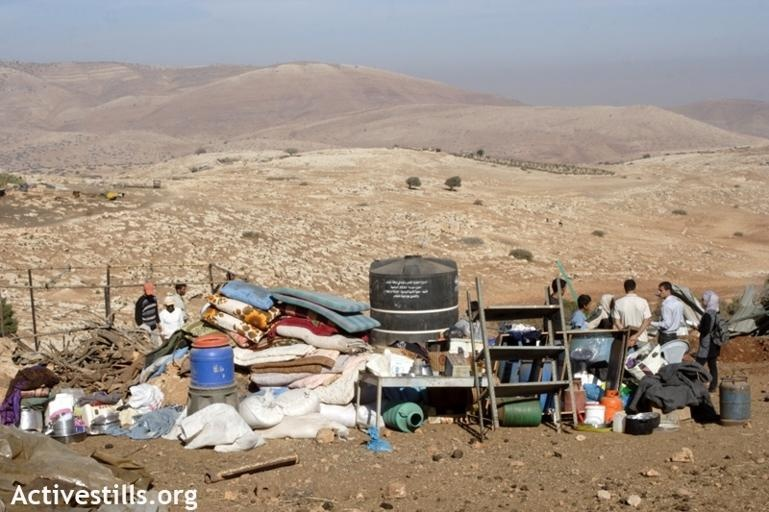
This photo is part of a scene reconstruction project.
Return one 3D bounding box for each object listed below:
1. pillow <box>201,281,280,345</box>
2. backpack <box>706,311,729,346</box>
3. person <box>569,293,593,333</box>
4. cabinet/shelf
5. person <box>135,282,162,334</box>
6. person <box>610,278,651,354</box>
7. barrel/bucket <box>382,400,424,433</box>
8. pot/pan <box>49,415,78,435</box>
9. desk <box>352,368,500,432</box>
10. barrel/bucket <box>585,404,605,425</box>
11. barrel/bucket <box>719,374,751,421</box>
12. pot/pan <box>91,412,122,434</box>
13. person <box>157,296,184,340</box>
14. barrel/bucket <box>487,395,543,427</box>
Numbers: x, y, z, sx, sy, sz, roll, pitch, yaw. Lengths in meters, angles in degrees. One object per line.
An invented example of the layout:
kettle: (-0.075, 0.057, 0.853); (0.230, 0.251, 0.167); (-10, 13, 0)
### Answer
pillow: (-2.629, 1.008, 13.224); (1.391, 1.126, 0.407); (29, -33, 11)
backpack: (5.871, 1.297, 13.007); (0.571, 0.730, 0.636); (1, -2, 22)
person: (3.502, 0.992, 12.946); (0.392, 0.544, 0.744); (4, 10, 3)
cabinet/shelf: (2.141, 1.603, 11.990); (1.661, 1.985, 1.347); (-1, -7, -9)
person: (-5.018, 1.080, 15.289); (0.420, 1.132, 1.727); (0, 10, -16)
person: (4.286, 1.010, 12.592); (0.675, 1.164, 1.393); (7, 11, 18)
barrel/bucket: (0.276, 2.565, 11.536); (0.524, 0.284, 0.339); (2, 31, 48)
pot/pan: (-4.830, 2.532, 10.909); (0.375, 0.267, 0.265); (-6, 13, -40)
desk: (0.582, 2.051, 11.190); (2.048, 0.575, 1.105); (0, -21, 3)
barrel/bucket: (3.337, 2.542, 11.669); (0.380, 0.293, 0.323); (0, -3, 5)
barrel/bucket: (5.508, 2.267, 11.397); (0.492, 0.710, 0.350); (7, 12, 20)
pot/pan: (-4.427, 2.636, 11.461); (0.449, 0.252, 0.307); (-2, 11, -26)
person: (-4.125, 1.215, 14.066); (0.466, 0.847, 1.032); (0, 10, -15)
barrel/bucket: (2.105, 2.484, 11.542); (0.690, 0.374, 0.436); (0, -12, -4)
